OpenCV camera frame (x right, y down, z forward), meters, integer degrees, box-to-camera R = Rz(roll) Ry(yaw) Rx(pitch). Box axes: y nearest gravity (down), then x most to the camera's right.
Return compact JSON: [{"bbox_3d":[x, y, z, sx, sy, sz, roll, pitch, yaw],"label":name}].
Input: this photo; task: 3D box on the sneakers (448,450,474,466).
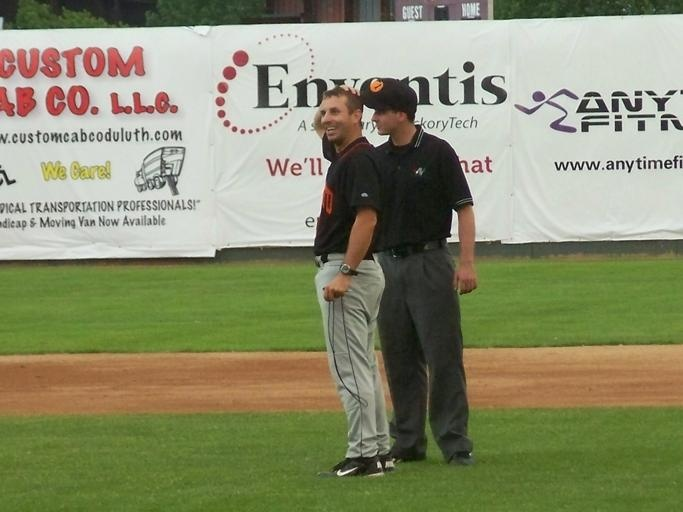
[{"bbox_3d":[1.566,2.637,22.075,0.293,0.117,0.160,2,25,-3],"label":"sneakers"}]
